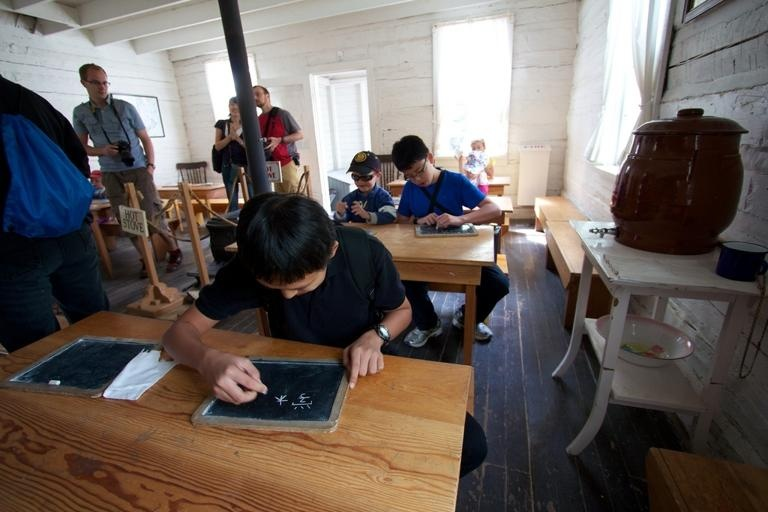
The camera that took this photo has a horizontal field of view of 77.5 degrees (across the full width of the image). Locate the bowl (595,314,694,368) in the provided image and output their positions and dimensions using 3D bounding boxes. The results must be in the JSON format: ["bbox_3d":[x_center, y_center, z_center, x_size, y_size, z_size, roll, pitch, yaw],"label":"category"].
[{"bbox_3d":[1.342,0.479,2.465,0.405,0.109,0.387,-12,17,4],"label":"bowl"}]

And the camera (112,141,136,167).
[{"bbox_3d":[-2.294,-0.904,4.195,0.239,0.120,0.180,44,26,16],"label":"camera"}]

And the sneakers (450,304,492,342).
[{"bbox_3d":[0.652,0.467,3.463,0.161,0.199,0.397,-17,23,-22],"label":"sneakers"}]

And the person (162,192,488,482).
[{"bbox_3d":[-0.245,0.377,2.273,1.294,1.432,0.853,-3,30,11],"label":"person"}]

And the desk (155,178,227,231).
[{"bbox_3d":[-2.599,-0.696,6.751,0.687,0.534,1.087,-5,7,-38],"label":"desk"}]

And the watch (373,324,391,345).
[{"bbox_3d":[-0.017,0.342,2.116,0.043,0.083,0.068,-14,38,-34],"label":"watch"}]

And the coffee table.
[{"bbox_3d":[1.343,0.460,2.454,0.726,1.140,0.457,2,20,14],"label":"coffee table"}]

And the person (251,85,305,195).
[{"bbox_3d":[-1.038,-1.178,4.838,0.402,1.053,0.701,-8,20,-12],"label":"person"}]

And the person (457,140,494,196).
[{"bbox_3d":[1.082,-0.930,5.666,0.424,0.934,0.310,0,2,20],"label":"person"}]

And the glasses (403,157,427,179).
[{"bbox_3d":[0.212,-0.592,3.234,0.137,0.046,0.136,-30,11,37],"label":"glasses"}]

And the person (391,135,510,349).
[{"bbox_3d":[0.446,-0.120,3.455,0.788,1.480,0.745,-6,11,6],"label":"person"}]

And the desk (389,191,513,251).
[{"bbox_3d":[0.741,-0.336,4.431,0.893,0.815,0.781,0,8,11],"label":"desk"}]

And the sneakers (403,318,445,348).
[{"bbox_3d":[0.273,0.547,3.403,0.308,0.136,0.121,-9,11,-35],"label":"sneakers"}]

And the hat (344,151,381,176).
[{"bbox_3d":[-0.136,-0.678,3.465,0.159,0.125,0.219,14,17,30],"label":"hat"}]
